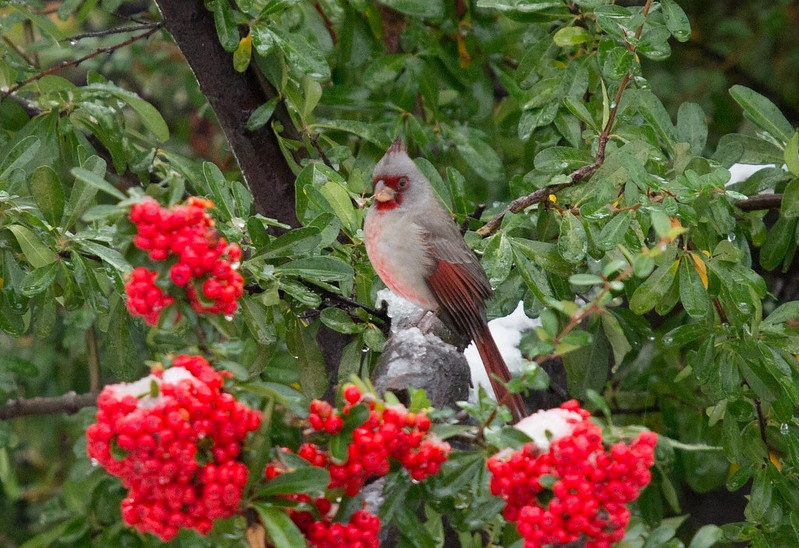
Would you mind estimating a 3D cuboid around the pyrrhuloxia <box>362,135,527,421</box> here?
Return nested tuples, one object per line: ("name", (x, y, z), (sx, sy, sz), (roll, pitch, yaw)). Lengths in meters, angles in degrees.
("pyrrhuloxia", (0.161, 0.076, 4.288), (0.602, 1.356, 1.211), (-2, 14, 5))

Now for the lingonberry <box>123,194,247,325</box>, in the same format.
("lingonberry", (-0.745, -0.042, 3.010), (0.406, 0.476, 0.201), (-15, 21, -13))

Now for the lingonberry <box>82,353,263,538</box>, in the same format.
("lingonberry", (-0.761, 0.597, 3.055), (0.592, 0.554, 0.274), (-12, 21, -5))
